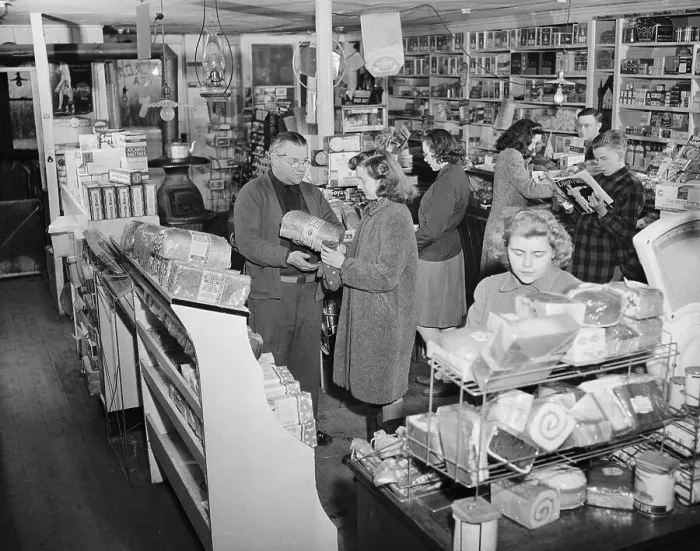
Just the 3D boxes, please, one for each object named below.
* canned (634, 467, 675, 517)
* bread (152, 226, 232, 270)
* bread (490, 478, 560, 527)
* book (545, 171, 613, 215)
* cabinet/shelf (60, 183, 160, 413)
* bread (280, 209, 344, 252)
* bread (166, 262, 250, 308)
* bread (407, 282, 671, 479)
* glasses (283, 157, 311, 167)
[{"bbox_3d":[1.031,0.712,1.920,0.121,0.147,0.126,2,5,26],"label":"canned"},{"bbox_3d":[-0.768,-0.097,2.807,0.481,0.208,0.339,7,-2,-6],"label":"bread"},{"bbox_3d":[0.568,0.722,1.857,0.151,0.103,0.153,-6,11,-29],"label":"bread"},{"bbox_3d":[1.722,-0.663,4.232,0.414,0.134,0.409,15,28,40],"label":"book"},{"bbox_3d":[-1.824,0.177,4.342,0.484,1.026,1.713,-4,17,-23],"label":"cabinet/shelf"},{"bbox_3d":[-0.214,-0.309,3.529,0.344,0.138,0.205,-32,42,22],"label":"bread"},{"bbox_3d":[-0.614,0.048,2.664,0.418,0.176,0.460,8,-3,-20],"label":"bread"},{"bbox_3d":[0.654,0.320,1.897,0.878,0.554,0.394,-9,16,-23],"label":"bread"},{"bbox_3d":[-0.326,-0.739,3.684,0.072,0.066,0.185,9,19,37],"label":"glasses"}]
